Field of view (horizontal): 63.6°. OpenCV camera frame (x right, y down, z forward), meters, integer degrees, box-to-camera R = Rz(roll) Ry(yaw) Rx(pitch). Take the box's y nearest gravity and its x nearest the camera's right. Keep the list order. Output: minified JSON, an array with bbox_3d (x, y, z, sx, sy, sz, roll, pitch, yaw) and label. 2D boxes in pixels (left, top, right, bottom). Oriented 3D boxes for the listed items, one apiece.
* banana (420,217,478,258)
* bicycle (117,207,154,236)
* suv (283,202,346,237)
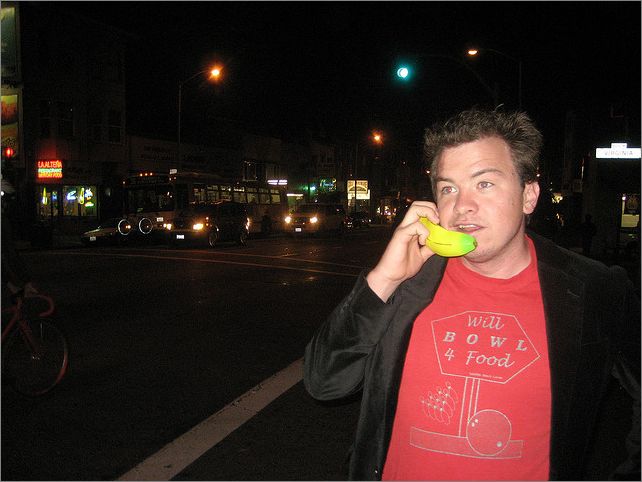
[{"bbox_3d":[0.587,-0.005,2.403,0.169,0.203,0.180,10,6,42],"label":"banana"},{"bbox_3d":[-9.979,-0.855,27.881,1.884,1.203,1.189,-3,5,-30],"label":"bicycle"},{"bbox_3d":[-0.367,-1.528,35.704,1.867,2.215,5.061,0,1,24],"label":"suv"}]
